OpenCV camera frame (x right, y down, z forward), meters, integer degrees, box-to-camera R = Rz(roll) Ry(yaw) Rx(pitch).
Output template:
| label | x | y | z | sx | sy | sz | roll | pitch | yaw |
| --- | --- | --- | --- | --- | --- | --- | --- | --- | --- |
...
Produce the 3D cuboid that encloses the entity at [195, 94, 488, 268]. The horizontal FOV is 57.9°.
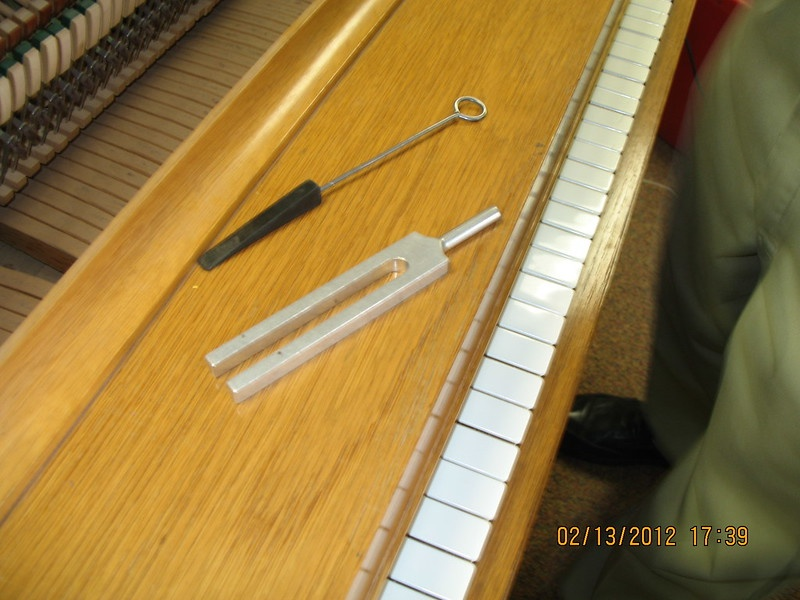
| label | x | y | z | sx | sy | sz | roll | pitch | yaw |
| --- | --- | --- | --- | --- | --- | --- | --- | --- | --- |
| entity | -0.114 | -0.209 | 1.343 | 0.596 | 0.041 | 0.074 | -32 | 83 | -15 |
